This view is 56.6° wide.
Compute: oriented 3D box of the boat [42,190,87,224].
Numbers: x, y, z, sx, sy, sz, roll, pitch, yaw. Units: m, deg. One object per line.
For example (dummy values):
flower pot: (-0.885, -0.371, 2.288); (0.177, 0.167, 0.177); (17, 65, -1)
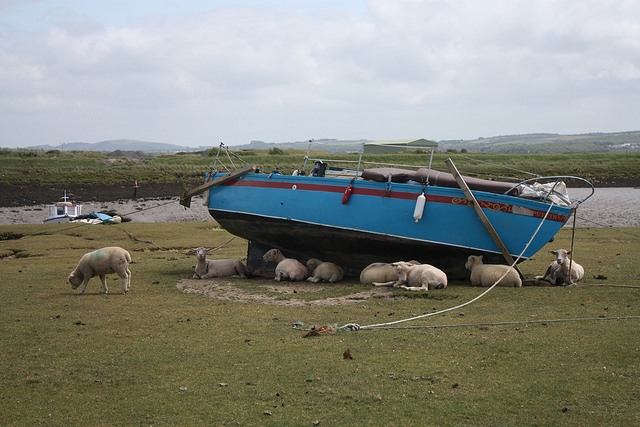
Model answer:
boat: (-17.785, -0.112, 41.642); (2.586, 1.508, 4.444); (3, 7, -21)

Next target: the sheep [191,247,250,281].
sheep: (-3.475, 1.746, 21.168); (3.252, 1.210, 1.320); (0, -7, 6)

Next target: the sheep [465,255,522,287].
sheep: (5.375, 1.839, 18.479); (1.035, 0.788, 2.096); (-4, 7, -38)

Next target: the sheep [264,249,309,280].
sheep: (-0.926, 1.800, 21.081); (1.561, 1.143, 1.127); (-1, -3, 34)

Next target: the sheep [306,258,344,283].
sheep: (0.202, 1.970, 20.335); (1.288, 0.407, 0.685); (3, 1, 15)

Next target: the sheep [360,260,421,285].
sheep: (2.167, 1.903, 19.211); (1.733, 0.631, 0.861); (-11, -7, 34)

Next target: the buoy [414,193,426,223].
buoy: (3.204, -0.188, 19.028); (0.349, 0.947, 0.258); (-1, 6, 6)

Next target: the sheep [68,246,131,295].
sheep: (-6.665, 1.798, 18.219); (2.482, 1.194, 0.883); (-10, -13, 20)

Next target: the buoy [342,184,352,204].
buoy: (0.918, -0.651, 19.980); (0.219, 0.690, 0.182); (32, -1, -42)

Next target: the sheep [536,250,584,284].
sheep: (7.538, 1.593, 18.322); (0.983, 1.077, 1.295); (0, 4, 13)
